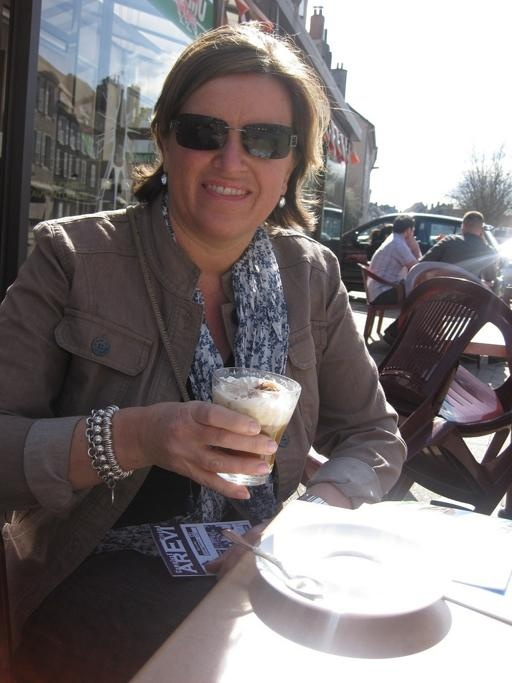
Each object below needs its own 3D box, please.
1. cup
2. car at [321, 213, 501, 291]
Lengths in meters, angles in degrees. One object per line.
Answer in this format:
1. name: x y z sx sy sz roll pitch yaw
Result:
1. cup: 0.008 0.130 0.996 0.173 0.229 0.222 10 19 12
2. car: 3.732 -2.512 14.323 3.851 1.876 2.212 13 23 7
